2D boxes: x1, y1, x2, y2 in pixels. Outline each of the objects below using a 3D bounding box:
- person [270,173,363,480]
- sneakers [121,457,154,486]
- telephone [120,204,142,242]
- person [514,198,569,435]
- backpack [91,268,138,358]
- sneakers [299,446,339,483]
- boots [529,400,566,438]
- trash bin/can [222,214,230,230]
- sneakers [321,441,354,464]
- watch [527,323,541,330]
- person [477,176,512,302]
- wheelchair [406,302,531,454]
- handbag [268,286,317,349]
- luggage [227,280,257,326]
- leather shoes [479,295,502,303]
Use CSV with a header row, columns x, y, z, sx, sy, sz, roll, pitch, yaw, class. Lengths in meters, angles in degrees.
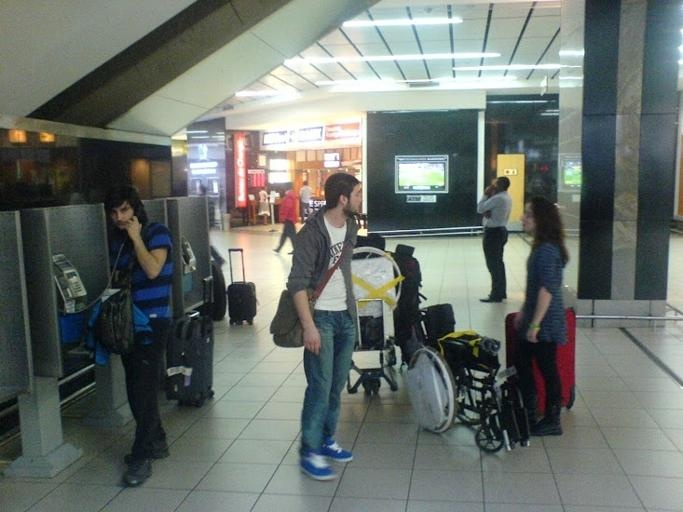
x,y,z,sx,sy,sz,roll,pitch,yaw,class
-0.137,0.471,3.908,0.660,2.001,0.303,-8,11,-41,person
-1.376,1.453,3.910,0.099,0.109,0.235,3,-7,-7,sneakers
-1.423,-0.213,3.967,0.088,0.230,0.169,-19,-15,26,telephone
1.458,0.466,4.294,0.343,1.756,0.294,1,8,17,person
-1.547,0.413,3.946,0.260,0.506,0.365,-7,10,-33,backpack
-0.145,1.393,3.914,0.278,0.135,0.131,4,5,41,sneakers
1.526,1.236,4.408,0.298,0.299,0.147,1,5,2,boots
-4.406,-1.292,22.442,0.338,0.564,0.639,-3,9,-10,trash bin/can
-0.035,1.363,4.100,0.271,0.121,0.103,6,12,5,sneakers
1.385,0.504,4.182,0.075,0.052,0.023,0,8,7,watch
2.221,-0.236,8.545,0.456,1.794,0.516,1,8,15,person
0.941,0.870,4.429,0.557,0.915,0.918,-2,2,-44,wheelchair
-0.357,0.409,3.771,0.166,0.354,0.225,-7,10,-33,handbag
-1.324,0.683,7.819,0.426,0.650,0.392,-1,1,11,luggage
2.164,0.618,8.567,0.352,0.158,0.123,4,2,7,leather shoes
